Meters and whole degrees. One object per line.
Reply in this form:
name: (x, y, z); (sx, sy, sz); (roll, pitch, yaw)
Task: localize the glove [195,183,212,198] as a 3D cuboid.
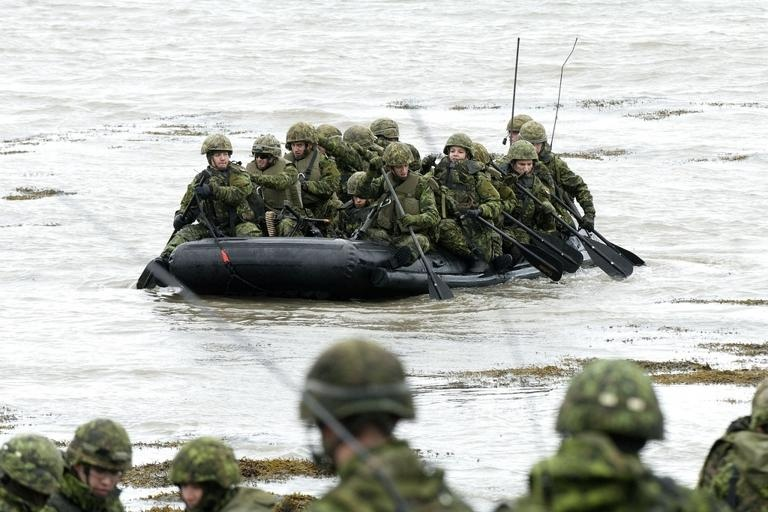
glove: (-3.948, -1.400, 36.196); (0.295, 0.259, 0.264); (8, 16, 29)

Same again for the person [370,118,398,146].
person: (-0.166, -2.977, 40.545); (0.849, 0.586, 0.725); (6, 13, 17)

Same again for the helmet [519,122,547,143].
helmet: (3.453, -2.823, 39.093); (0.633, 0.391, 0.530); (5, 28, 2)

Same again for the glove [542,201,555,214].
glove: (3.787, -1.102, 38.759); (0.318, 0.305, 0.394); (2, 13, 6)

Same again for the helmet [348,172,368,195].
helmet: (-0.639, -1.572, 36.952); (0.382, 0.544, 0.370); (0, 15, -1)

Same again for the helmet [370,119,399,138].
helmet: (-0.002, -3.090, 40.601); (0.695, 0.411, 0.469); (-8, 15, -15)

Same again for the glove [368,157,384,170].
glove: (-0.209, -2.003, 36.840); (0.302, 0.329, 0.501); (-1, 13, -4)

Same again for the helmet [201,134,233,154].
helmet: (-3.741, -2.426, 36.729); (0.603, 0.288, 0.547); (0, 0, -12)

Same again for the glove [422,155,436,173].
glove: (0.974, -2.123, 38.409); (0.356, 0.414, 0.133); (25, 42, -30)

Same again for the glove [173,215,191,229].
glove: (-4.513, -0.742, 36.958); (0.322, 0.309, 0.324); (0, -10, -3)

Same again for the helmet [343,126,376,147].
helmet: (-0.634, -2.834, 39.456); (0.709, 0.444, 0.556); (1, 24, 1)

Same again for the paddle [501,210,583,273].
paddle: (3.932, -0.188, 38.715); (2.933, 0.702, 0.123); (29, -5, -30)

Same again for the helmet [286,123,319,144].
helmet: (-1.853, -2.780, 38.135); (0.604, 0.375, 0.594); (-6, 10, -44)
